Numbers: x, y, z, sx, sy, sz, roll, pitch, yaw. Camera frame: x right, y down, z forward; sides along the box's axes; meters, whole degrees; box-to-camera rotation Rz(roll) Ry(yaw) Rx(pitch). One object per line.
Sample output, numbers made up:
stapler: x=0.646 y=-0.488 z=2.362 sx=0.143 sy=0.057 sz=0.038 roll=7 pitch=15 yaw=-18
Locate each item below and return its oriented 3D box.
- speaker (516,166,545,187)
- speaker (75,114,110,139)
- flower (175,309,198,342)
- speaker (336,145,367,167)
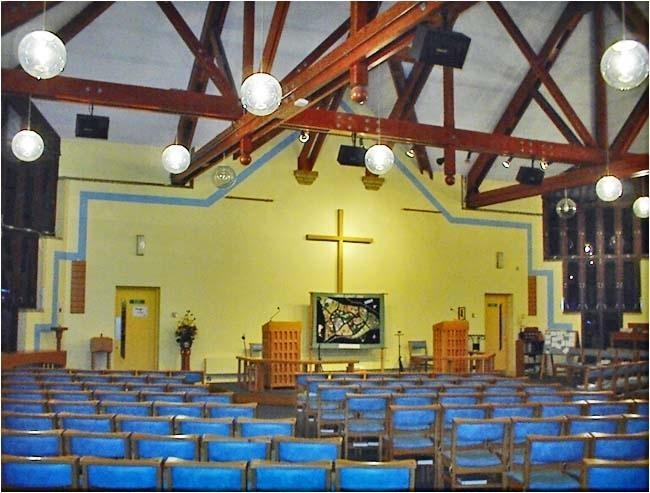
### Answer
speaker: x=4.299 y=-1.475 z=15.666 sx=0.625 sy=0.481 sz=0.360 roll=3 pitch=4 yaw=-7
speaker: x=-4.039 y=-2.156 z=12.870 sx=0.525 sy=0.466 sz=0.560 roll=2 pitch=-8 yaw=-23
flower: x=-2.951 y=1.669 z=15.737 sx=0.576 sy=0.889 sz=0.523 roll=1 pitch=-8 yaw=-12
speaker: x=0.514 y=-2.041 z=15.415 sx=0.664 sy=0.527 sz=0.384 roll=1 pitch=9 yaw=-9
